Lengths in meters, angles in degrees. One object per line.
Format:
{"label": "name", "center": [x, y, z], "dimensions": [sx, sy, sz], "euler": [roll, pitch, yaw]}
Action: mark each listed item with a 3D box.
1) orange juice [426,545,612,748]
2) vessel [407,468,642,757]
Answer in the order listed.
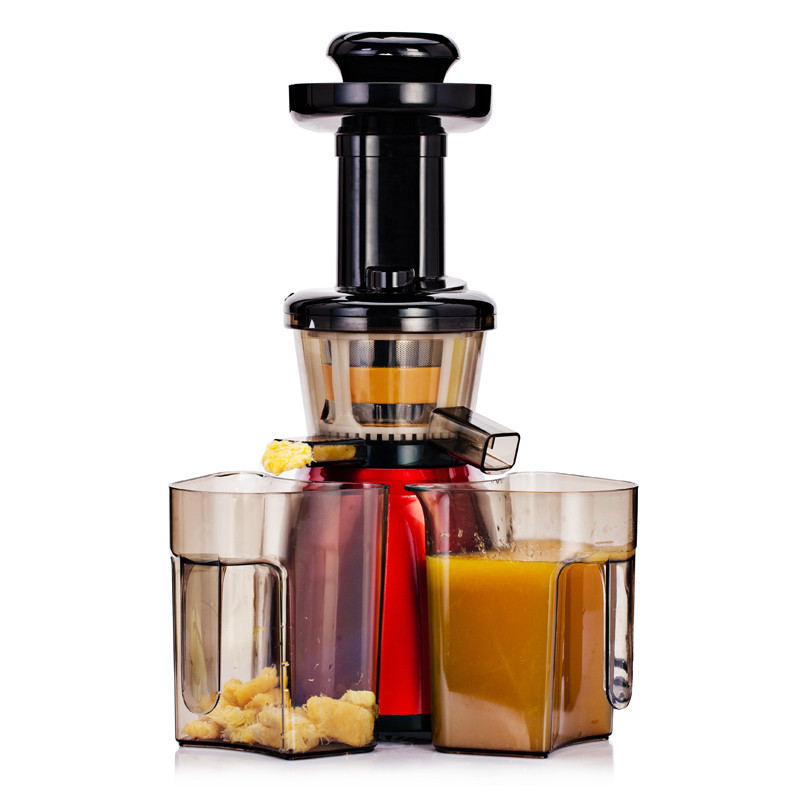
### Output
{"label": "orange juice", "center": [0.169, 0.347, 1.491], "dimensions": [0.265, 0.282, 0.119], "euler": [2, 11, 5]}
{"label": "vessel", "center": [0.243, 0.315, 1.552], "dimensions": [0.389, 0.349, 0.318], "euler": [-2, -13, 17]}
